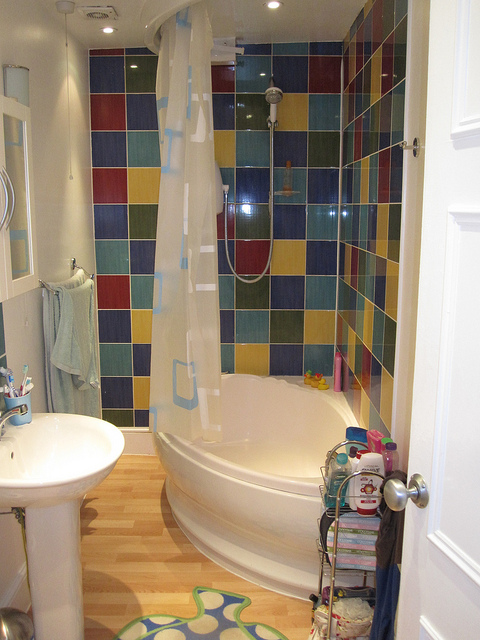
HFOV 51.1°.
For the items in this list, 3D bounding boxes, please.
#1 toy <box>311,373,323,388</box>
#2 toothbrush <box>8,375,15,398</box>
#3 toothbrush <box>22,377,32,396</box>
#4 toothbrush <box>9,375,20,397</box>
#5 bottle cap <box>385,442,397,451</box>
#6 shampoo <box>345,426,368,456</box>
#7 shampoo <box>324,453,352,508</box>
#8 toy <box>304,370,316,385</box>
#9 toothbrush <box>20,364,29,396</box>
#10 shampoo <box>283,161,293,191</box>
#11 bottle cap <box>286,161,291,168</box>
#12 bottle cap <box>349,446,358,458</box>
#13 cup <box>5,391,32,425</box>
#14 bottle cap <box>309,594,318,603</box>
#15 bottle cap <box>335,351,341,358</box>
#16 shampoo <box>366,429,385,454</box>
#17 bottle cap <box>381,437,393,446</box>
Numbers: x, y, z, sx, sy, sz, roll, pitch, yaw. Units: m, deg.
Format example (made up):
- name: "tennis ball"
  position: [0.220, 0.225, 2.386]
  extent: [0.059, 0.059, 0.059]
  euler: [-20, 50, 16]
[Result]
- name: "toy"
  position: [0.486, 0.374, 3.198]
  extent: [0.058, 0.105, 0.065]
  euler: [4, 13, 15]
- name: "toothbrush"
  position: [-0.755, 0.222, 1.682]
  extent: [0.017, 0.086, 0.035]
  euler: [-4, 9, -26]
- name: "toothbrush"
  position: [-0.727, 0.227, 1.742]
  extent: [0.010, 0.089, 0.018]
  euler: [-6, -19, 43]
- name: "toothbrush"
  position: [-0.755, 0.216, 1.696]
  extent: [0.016, 0.099, 0.009]
  euler: [-5, 8, -6]
- name: "bottle cap"
  position: [0.518, 0.439, 1.741]
  extent: [0.040, 0.026, 0.021]
  euler: [-3, 9, -11]
- name: "shampoo"
  position: [0.453, 0.467, 1.989]
  extent: [0.096, 0.130, 0.086]
  euler: [0, 4, 10]
- name: "shampoo"
  position: [0.341, 0.566, 1.765]
  extent: [0.090, 0.179, 0.086]
  euler: [1, 8, 12]
- name: "toy"
  position: [0.435, 0.369, 3.217]
  extent: [0.046, 0.070, 0.060]
  euler: [0, 4, 4]
- name: "toothbrush"
  position: [-0.777, 0.223, 1.836]
  extent: [0.013, 0.106, 0.008]
  euler: [1, -5, 5]
- name: "shampoo"
  position: [0.294, -0.883, 3.123]
  extent: [0.050, 0.174, 0.096]
  euler: [1, 8, 12]
- name: "bottle cap"
  position: [0.300, -0.954, 3.104]
  extent: [0.026, 0.040, 0.055]
  euler: [6, 12, 39]
- name: "bottle cap"
  position: [0.409, 0.481, 1.833]
  extent: [0.021, 0.036, 0.030]
  euler: [-1, 12, 1]
- name: "cup"
  position: [-0.752, 0.304, 1.768]
  extent: [0.065, 0.112, 0.092]
  euler: [2, 13, -1]
- name: "bottle cap"
  position: [0.277, 1.050, 1.907]
  extent: [0.021, 0.013, 0.041]
  euler: [-3, 9, -18]
- name: "bottle cap"
  position: [0.601, 0.218, 3.102]
  extent: [0.023, 0.036, 0.028]
  euler: [2, 25, 3]
- name: "shampoo"
  position: [0.489, 0.446, 1.874]
  extent: [0.048, 0.114, 0.082]
  euler: [1, 10, -7]
- name: "bottle cap"
  position: [0.515, 0.430, 1.783]
  extent: [0.018, 0.024, 0.022]
  euler: [-6, 4, -29]
